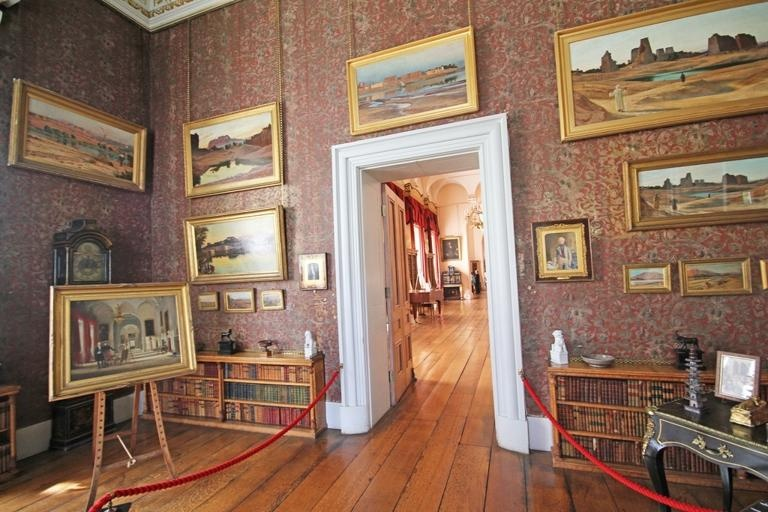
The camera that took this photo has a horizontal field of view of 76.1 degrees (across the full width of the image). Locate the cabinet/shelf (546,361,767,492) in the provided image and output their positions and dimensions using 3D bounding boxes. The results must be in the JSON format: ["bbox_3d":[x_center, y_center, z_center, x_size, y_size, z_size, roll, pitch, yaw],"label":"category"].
[{"bbox_3d":[3.296,2.057,5.820,1.889,0.975,0.649,-3,-5,28],"label":"cabinet/shelf"}]

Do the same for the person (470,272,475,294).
[{"bbox_3d":[4.275,1.257,23.497,0.190,0.941,0.334,-4,-3,9],"label":"person"}]

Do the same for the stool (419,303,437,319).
[{"bbox_3d":[1.501,1.882,17.151,0.738,0.605,0.502,1,7,6],"label":"stool"}]

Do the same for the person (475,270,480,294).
[{"bbox_3d":[4.489,1.240,23.549,0.240,1.124,0.459,-4,-3,12],"label":"person"}]

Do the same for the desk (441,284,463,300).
[{"bbox_3d":[3.156,1.690,22.604,1.160,0.747,0.635,-2,-6,16],"label":"desk"}]

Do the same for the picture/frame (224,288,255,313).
[{"bbox_3d":[-2.370,0.731,8.137,0.586,0.388,0.055,-4,-3,21],"label":"picture/frame"}]

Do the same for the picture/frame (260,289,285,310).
[{"bbox_3d":[-1.774,0.707,7.935,0.387,0.284,0.039,0,-3,13],"label":"picture/frame"}]

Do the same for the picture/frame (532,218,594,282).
[{"bbox_3d":[2.506,-0.074,6.781,0.996,1.020,0.176,0,2,17],"label":"picture/frame"}]

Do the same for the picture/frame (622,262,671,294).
[{"bbox_3d":[3.519,0.296,6.532,0.463,0.299,0.030,-1,-3,16],"label":"picture/frame"}]

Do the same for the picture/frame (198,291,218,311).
[{"bbox_3d":[-2.946,0.761,8.313,0.372,0.241,0.027,2,0,19],"label":"picture/frame"}]

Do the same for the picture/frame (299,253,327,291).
[{"bbox_3d":[-1.084,0.250,7.713,0.657,0.693,0.074,-2,-1,13],"label":"picture/frame"}]
